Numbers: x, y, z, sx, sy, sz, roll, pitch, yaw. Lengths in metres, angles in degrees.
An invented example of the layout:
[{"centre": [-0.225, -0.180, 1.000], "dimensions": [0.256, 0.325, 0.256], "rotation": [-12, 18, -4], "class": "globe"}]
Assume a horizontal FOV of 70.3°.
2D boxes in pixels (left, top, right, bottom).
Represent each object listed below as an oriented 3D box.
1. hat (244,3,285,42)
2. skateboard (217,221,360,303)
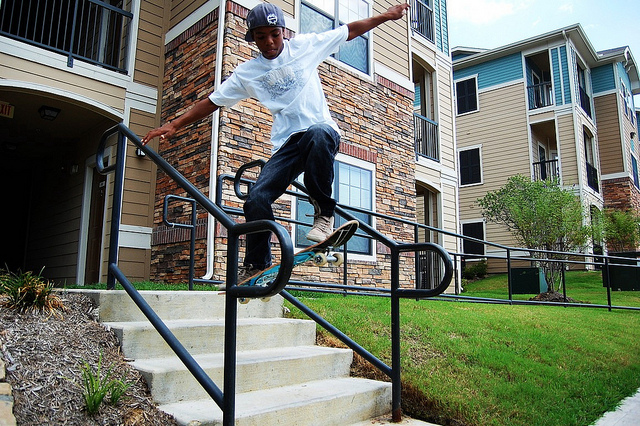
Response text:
[{"centre": [-0.543, -1.859, 4.377], "dimensions": [0.389, 0.370, 0.218], "rotation": [0, -9, 4], "class": "hat"}, {"centre": [-0.409, 0.593, 5.464], "dimensions": [2.089, 0.359, 0.476], "rotation": [-33, -33, 7], "class": "skateboard"}]
